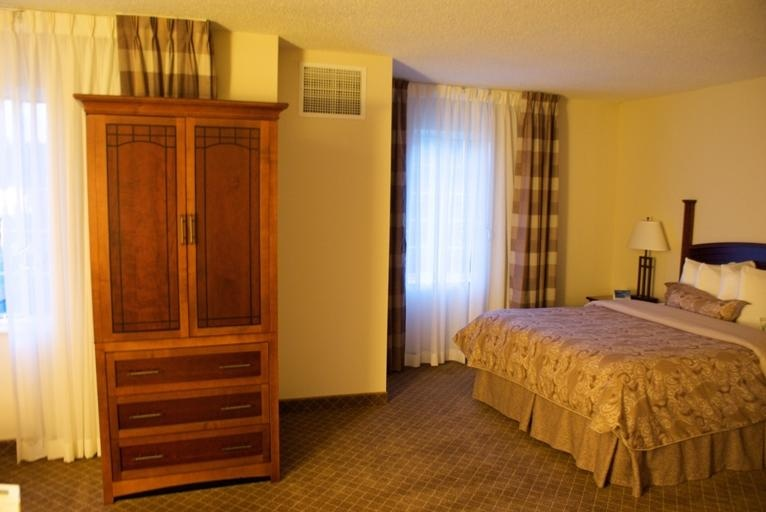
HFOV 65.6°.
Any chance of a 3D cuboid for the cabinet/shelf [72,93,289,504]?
[{"bbox_3d":[-1.486,0.322,4.580,1.411,3.052,0.366,-3,10,-11],"label":"cabinet/shelf"}]
